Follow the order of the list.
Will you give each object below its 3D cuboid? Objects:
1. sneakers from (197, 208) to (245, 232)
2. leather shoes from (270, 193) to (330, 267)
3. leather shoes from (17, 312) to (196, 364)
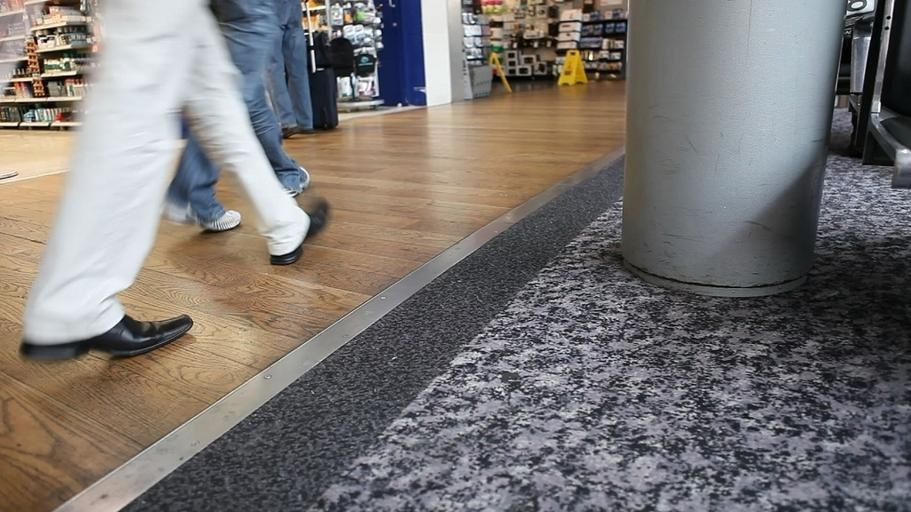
[{"bbox_3d":[-1.123,-0.177,2.496,0.199,0.073,0.082,-14,38,-16],"label":"sneakers"},{"bbox_3d":[-0.678,-0.113,2.216,0.150,0.149,0.365,16,46,18],"label":"leather shoes"},{"bbox_3d":[-1.031,0.212,1.592,0.153,0.164,0.481,26,16,33],"label":"leather shoes"}]
